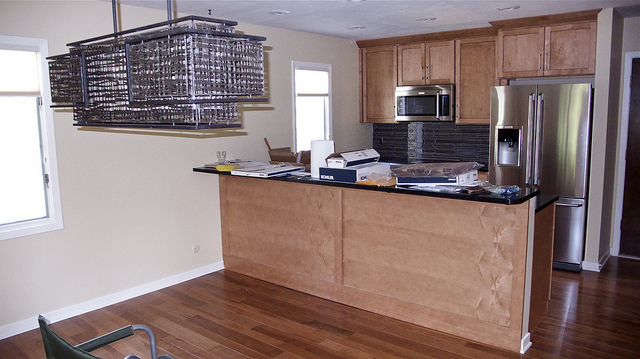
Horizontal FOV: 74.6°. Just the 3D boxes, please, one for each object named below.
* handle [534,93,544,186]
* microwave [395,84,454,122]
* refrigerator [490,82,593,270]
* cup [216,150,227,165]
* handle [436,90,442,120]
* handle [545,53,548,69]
[{"bbox_3d":[3.251,-0.599,6.248,0.100,1.363,0.264,4,16,26],"label":"handle"},{"bbox_3d":[2.109,-1.403,7.743,0.780,0.644,1.222,-11,14,-35],"label":"microwave"},{"bbox_3d":[3.319,-0.059,6.380,1.277,2.718,0.471,4,17,28],"label":"refrigerator"},{"bbox_3d":[-1.390,-0.323,5.982,0.120,0.171,0.263,-6,12,-12],"label":"cup"},{"bbox_3d":[2.099,-1.324,7.400,0.097,0.509,0.081,-1,15,11],"label":"handle"},{"bbox_3d":[3.446,-1.808,6.405,0.032,0.224,0.048,-2,15,7],"label":"handle"}]
